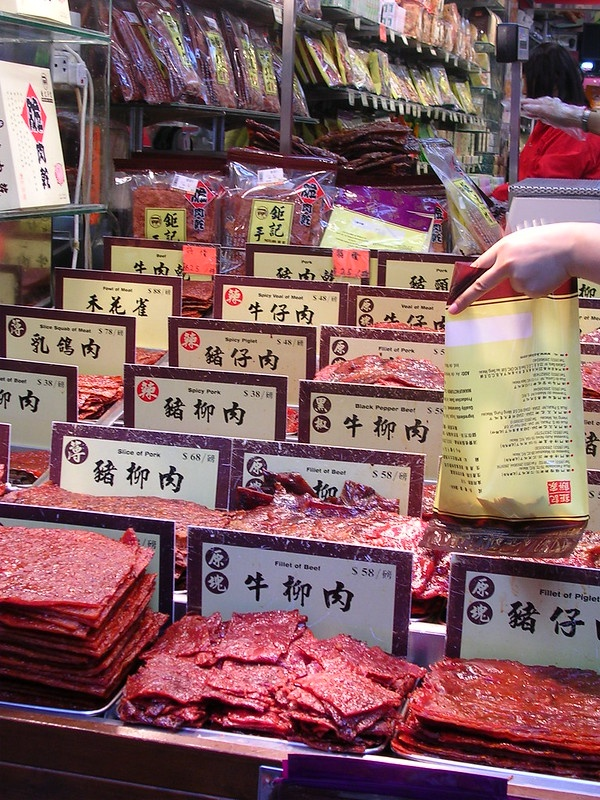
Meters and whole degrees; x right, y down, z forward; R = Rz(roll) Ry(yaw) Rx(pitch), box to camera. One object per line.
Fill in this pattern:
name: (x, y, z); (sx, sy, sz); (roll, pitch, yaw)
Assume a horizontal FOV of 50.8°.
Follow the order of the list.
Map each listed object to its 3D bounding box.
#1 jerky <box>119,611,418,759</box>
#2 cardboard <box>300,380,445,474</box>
jerky: (-0.039, 0.358, 0.834); (0.213, 0.044, 0.179); (6, 15, 19)
cardboard: (0.175, 0.066, 1.524); (0.246, 0.165, 0.009); (3, 15, 4)
